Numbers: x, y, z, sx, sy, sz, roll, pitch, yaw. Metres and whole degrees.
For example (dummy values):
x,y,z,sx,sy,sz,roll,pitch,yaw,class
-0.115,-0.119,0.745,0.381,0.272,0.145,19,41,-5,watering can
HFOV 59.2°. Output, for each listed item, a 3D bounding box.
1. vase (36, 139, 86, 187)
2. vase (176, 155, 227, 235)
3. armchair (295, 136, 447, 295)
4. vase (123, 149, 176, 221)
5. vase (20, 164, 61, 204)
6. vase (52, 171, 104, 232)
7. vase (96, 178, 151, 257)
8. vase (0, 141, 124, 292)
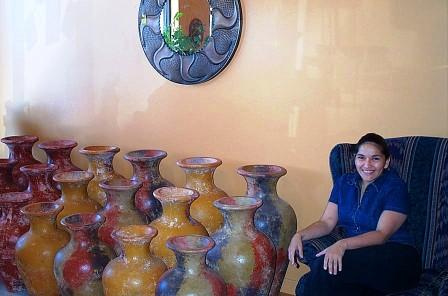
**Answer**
x,y,z,sx,sy,sz,roll,pitch,yaw,class
-1.305,0.140,3.139,0.340,0.380,0.352,1,12,-2,vase
-0.138,0.293,2.683,0.452,0.640,0.445,-2,2,-4,vase
0.877,0.349,2.739,1.027,1.193,0.886,1,-2,-44,armchair
-0.474,0.255,2.945,0.447,0.618,0.444,1,5,5,vase
-1.278,0.214,2.836,0.256,0.276,0.250,10,14,31,vase
-0.928,0.309,2.641,0.344,0.451,0.357,1,9,-17,vase
-0.636,0.368,2.448,0.400,0.563,0.415,1,1,-23,vase
-1.248,0.407,2.975,0.775,0.759,1.011,-2,8,-31,vase
